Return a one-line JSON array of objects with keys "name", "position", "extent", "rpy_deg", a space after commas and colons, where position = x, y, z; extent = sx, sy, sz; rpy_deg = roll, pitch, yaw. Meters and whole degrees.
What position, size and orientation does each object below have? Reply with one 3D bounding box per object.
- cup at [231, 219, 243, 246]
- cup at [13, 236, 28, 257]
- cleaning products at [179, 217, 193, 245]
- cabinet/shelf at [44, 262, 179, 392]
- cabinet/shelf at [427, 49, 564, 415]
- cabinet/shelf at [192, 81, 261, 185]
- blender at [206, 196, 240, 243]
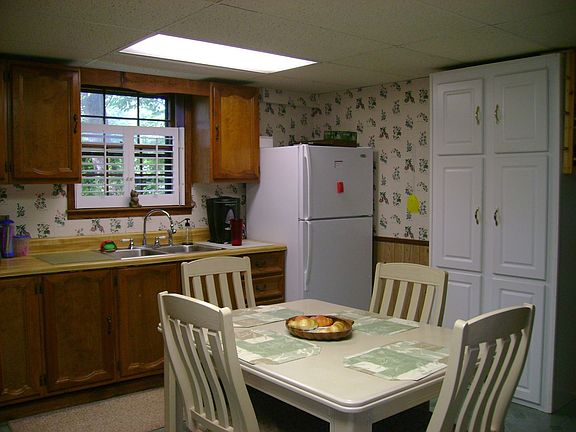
[{"name": "cup", "position": [-0.504, 0.154, 4.445], "extent": [0.106, 0.241, 0.127], "rpy_deg": [-2, 10, -15]}, {"name": "cup", "position": [-2.150, 0.241, 3.671], "extent": [0.129, 0.142, 0.129], "rpy_deg": [1, 0, 0]}, {"name": "cleaning products", "position": [-1.010, 0.151, 4.536], "extent": [0.115, 0.230, 0.253], "rpy_deg": [-2, 10, -14]}, {"name": "cabinet/shelf", "position": [-1.460, 0.868, 3.770], "extent": [1.036, 0.964, 0.383], "rpy_deg": [-4, 9, -34]}, {"name": "cabinet/shelf", "position": [1.603, 0.192, 3.968], "extent": [1.090, 2.818, 0.606], "rpy_deg": [2, -1, 4]}, {"name": "cabinet/shelf", "position": [-0.621, -0.820, 4.646], "extent": [0.551, 0.964, 0.432], "rpy_deg": [-5, 10, -34]}, {"name": "blender", "position": [-0.652, 0.039, 4.585], "extent": [0.296, 0.471, 0.314], "rpy_deg": [-2, 4, -22]}]
